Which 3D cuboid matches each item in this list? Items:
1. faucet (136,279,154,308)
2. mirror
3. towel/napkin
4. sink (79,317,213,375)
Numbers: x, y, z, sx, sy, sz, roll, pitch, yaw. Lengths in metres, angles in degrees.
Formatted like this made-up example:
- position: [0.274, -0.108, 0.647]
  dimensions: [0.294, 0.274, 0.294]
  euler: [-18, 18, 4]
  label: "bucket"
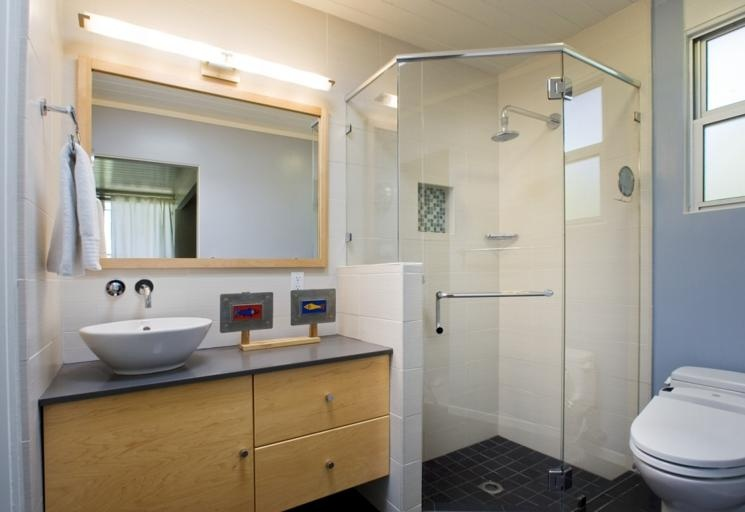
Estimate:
- position: [-1.331, 0.222, 3.167]
  dimensions: [0.101, 0.130, 0.040]
  euler: [-4, 3, -25]
  label: "faucet"
- position: [-0.957, -0.497, 3.397]
  dimensions: [1.606, 1.165, 0.037]
  euler: [0, -3, -39]
  label: "mirror"
- position: [-1.547, -0.254, 2.765]
  dimensions: [0.243, 0.586, 0.156]
  euler: [-4, 3, -24]
  label: "towel/napkin"
- position: [-1.196, 0.475, 2.896]
  dimensions: [0.618, 0.209, 0.424]
  euler: [-4, 2, -24]
  label: "sink"
